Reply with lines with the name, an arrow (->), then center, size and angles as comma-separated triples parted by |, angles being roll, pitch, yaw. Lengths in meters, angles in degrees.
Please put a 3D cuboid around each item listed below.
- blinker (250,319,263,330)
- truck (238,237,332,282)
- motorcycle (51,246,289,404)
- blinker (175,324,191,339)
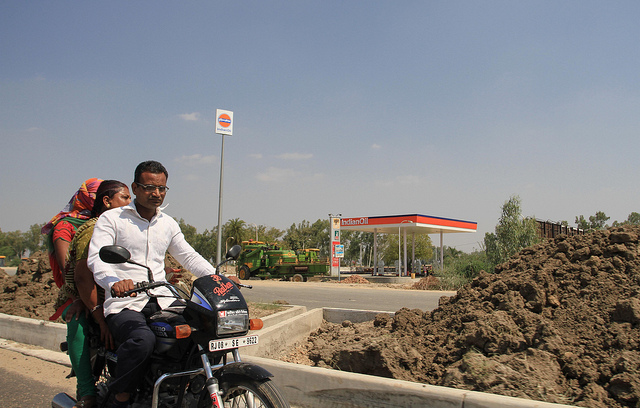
blinker -> -0.730, 1.387, 5.444 | 0.133, 0.118, 0.115 | -2, -1, -13
truck -> -3.115, 4.100, 33.984 | 5.896, 3.168, 3.857 | -1, -8, 23
motorcycle -> -1.394, 1.385, 5.346 | 2.073, 1.818, 0.950 | 1, -6, -4
blinker -> -1.472, 1.382, 5.104 | 0.124, 0.133, 0.131 | -14, -13, -14
